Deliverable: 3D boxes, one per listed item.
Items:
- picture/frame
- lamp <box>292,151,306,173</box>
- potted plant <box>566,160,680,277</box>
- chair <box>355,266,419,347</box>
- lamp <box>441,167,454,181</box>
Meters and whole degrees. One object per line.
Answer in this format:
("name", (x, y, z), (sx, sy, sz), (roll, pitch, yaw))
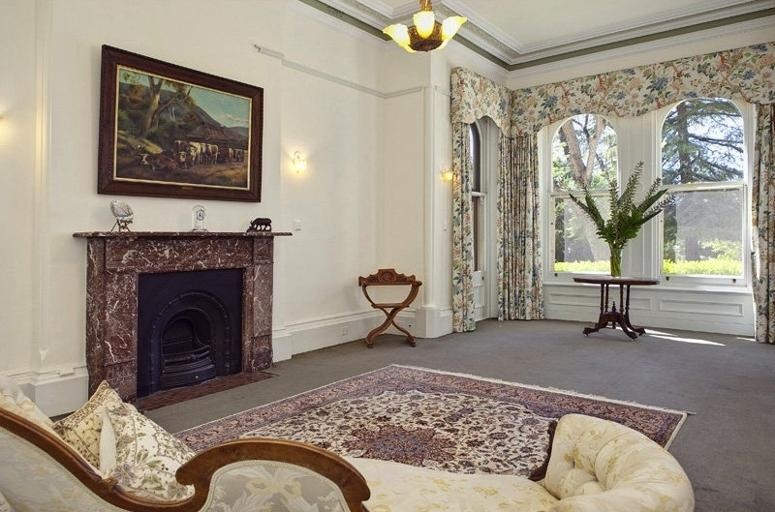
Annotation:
("picture/frame", (-2.255, -1.403, 5.162), (0.087, 1.490, 2.104), (6, 4, 41))
("lamp", (-1.183, -1.283, 6.643), (0.086, 0.285, 0.245), (5, 7, 37))
("potted plant", (3.933, -0.616, 8.362), (1.862, 1.905, 1.917), (-1, 1, 17))
("chair", (0.041, 0.731, 7.300), (0.933, 1.076, 1.122), (0, 5, 3))
("lamp", (0.952, -1.305, 7.757), (0.169, 0.229, 0.238), (4, -5, -44))
